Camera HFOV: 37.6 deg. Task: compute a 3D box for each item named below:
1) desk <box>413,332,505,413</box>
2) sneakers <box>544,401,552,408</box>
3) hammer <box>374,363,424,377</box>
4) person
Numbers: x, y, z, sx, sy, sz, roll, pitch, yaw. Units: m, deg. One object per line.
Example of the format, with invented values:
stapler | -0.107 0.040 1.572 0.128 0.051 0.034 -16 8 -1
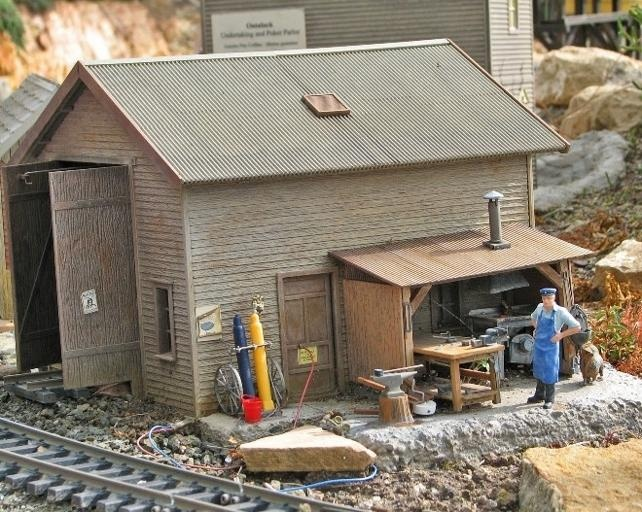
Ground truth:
desk | 2.617 2.379 18.798 1.194 1.013 1.815 -5 3 -27
sneakers | 4.325 2.853 17.877 0.191 0.118 0.123 -3 -1 3
hammer | 1.466 2.215 18.131 1.447 0.143 0.291 -6 -3 12
person | 4.401 1.782 18.120 0.962 2.309 1.051 -4 0 9
